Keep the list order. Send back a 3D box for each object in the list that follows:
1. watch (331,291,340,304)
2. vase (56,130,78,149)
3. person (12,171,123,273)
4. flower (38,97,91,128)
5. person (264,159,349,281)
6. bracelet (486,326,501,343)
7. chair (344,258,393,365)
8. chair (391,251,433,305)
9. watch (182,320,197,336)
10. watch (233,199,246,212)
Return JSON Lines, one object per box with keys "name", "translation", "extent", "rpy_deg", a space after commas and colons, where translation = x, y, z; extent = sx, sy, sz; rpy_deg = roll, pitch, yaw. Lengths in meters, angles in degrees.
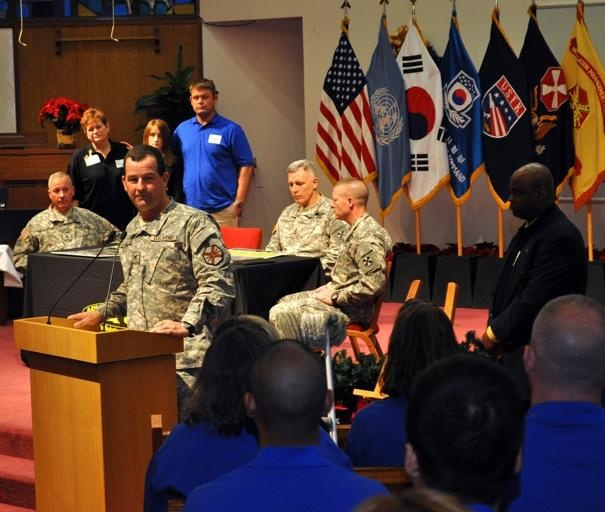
{"name": "watch", "translation": [0.202, 0.256, 4.496], "extent": [0.044, 0.074, 0.049], "rpy_deg": [4, 4, 6]}
{"name": "vase", "translation": [-2.331, -1.155, 7.177], "extent": [0.164, 0.203, 0.174], "rpy_deg": [4, 9, 14]}
{"name": "person", "translation": [-1.879, -0.275, 5.774], "extent": [0.840, 0.760, 0.457], "rpy_deg": [-9, 2, -16]}
{"name": "flower", "translation": [-2.221, -1.370, 6.931], "extent": [0.347, 0.262, 0.369], "rpy_deg": [4, 12, 13]}
{"name": "person", "translation": [-0.027, -0.192, 5.291], "extent": [0.675, 0.972, 0.556], "rpy_deg": [1, 5, 25]}
{"name": "bracelet", "translation": [0.946, 0.383, 3.611], "extent": [0.048, 0.066, 0.032], "rpy_deg": [26, 12, 41]}
{"name": "chair", "translation": [0.318, 0.380, 4.845], "extent": [0.376, 0.585, 0.321], "rpy_deg": [13, 14, -19]}
{"name": "chair", "translation": [1.131, 0.164, 7.552], "extent": [0.400, 0.572, 0.567], "rpy_deg": [2, 4, 8]}
{"name": "watch", "translation": [-0.411, 0.259, 2.675], "extent": [0.042, 0.019, 0.053], "rpy_deg": [44, 10, 31]}
{"name": "watch", "translation": [-0.528, -0.431, 6.206], "extent": [0.067, 0.109, 0.094], "rpy_deg": [5, 2, -35]}
